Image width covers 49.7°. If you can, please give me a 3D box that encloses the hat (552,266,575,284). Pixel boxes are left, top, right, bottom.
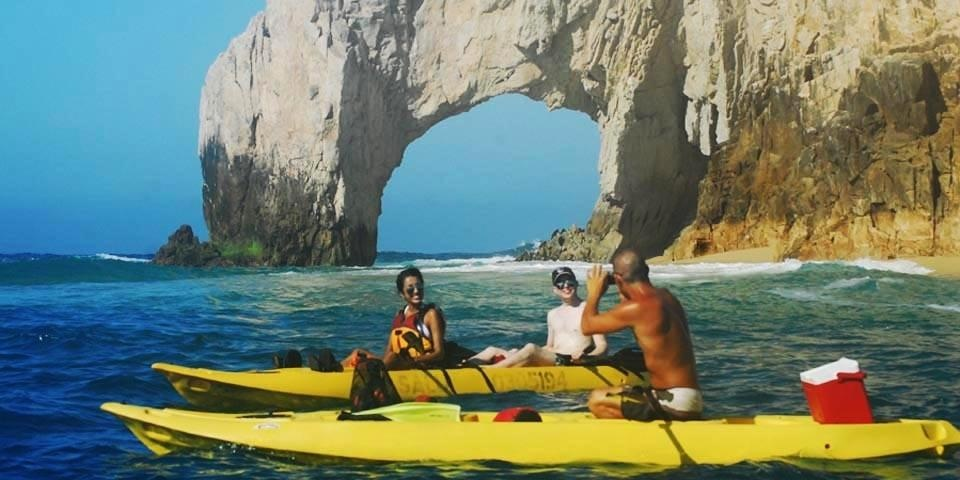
[{"bbox_3d":[3.080,1.273,38.073,0.861,0.580,1.347,-3,-11,3],"label":"hat"}]
